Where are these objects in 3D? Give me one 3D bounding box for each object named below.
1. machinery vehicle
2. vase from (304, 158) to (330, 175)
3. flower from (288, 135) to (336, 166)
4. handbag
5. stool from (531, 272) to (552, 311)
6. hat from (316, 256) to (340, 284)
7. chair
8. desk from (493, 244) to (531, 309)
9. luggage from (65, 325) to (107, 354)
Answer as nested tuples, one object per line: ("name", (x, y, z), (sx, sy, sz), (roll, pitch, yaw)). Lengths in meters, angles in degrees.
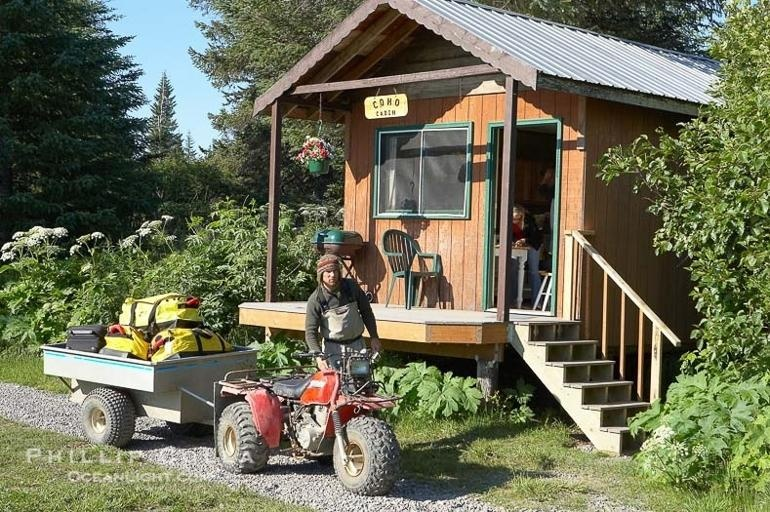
("machinery vehicle", (-1.716, 1.618, 8.834), (4.135, 1.468, 0.790), (5, 7, 23))
("vase", (-1.082, -1.518, 13.274), (0.459, 0.331, 0.473), (-3, 5, -37))
("flower", (-1.205, -1.811, 13.293), (0.579, 0.443, 0.725), (0, 7, -10))
("handbag", (-2.684, 0.912, 9.401), (0.988, 0.527, 0.895), (-3, -3, 45))
("stool", (2.420, 0.554, 11.983), (0.357, 0.568, 0.382), (14, -5, 12))
("hat", (-0.646, 0.152, 8.736), (0.213, 0.294, 0.283), (-2, -5, -10))
("chair", (0.516, 0.181, 12.653), (1.019, 1.681, 1.076), (-1, 0, -37))
("desk", (2.092, 0.337, 12.350), (0.769, 1.174, 0.847), (0, -2, 10))
("luggage", (-3.690, 1.009, 9.533), (0.418, 0.358, 0.305), (0, -3, 21))
